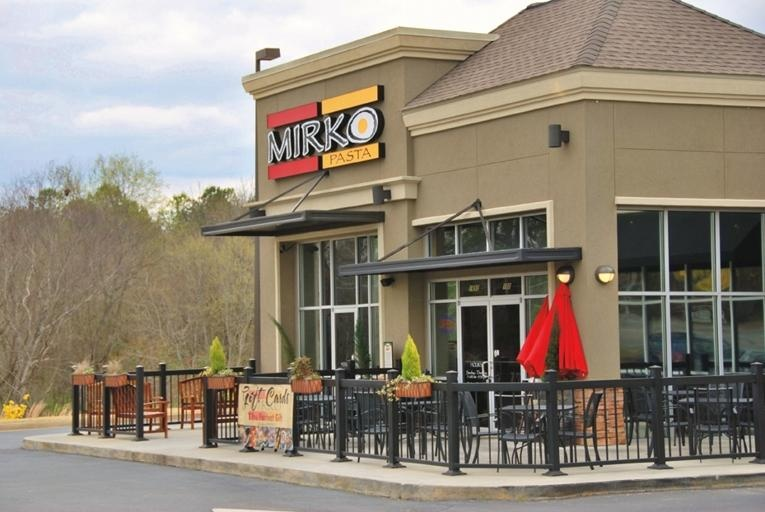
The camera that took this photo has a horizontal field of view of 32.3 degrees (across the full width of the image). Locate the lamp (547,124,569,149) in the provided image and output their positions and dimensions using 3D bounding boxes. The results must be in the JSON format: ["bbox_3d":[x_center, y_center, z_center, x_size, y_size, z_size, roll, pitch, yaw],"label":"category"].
[{"bbox_3d":[4.467,-3.107,33.526,0.632,0.658,0.394,0,-1,-5],"label":"lamp"}]

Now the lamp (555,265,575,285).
[{"bbox_3d":[4.631,0.477,33.582,0.405,0.620,0.567,0,-6,-31],"label":"lamp"}]

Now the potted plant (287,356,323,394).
[{"bbox_3d":[-1.877,2.896,31.790,0.882,0.933,0.791,0,0,-8],"label":"potted plant"}]

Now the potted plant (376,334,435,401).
[{"bbox_3d":[0.569,2.593,30.355,1.189,1.465,0.593,-2,-12,10],"label":"potted plant"}]

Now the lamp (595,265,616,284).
[{"bbox_3d":[5.573,0.454,33.134,0.427,0.456,0.222,-3,-3,-22],"label":"lamp"}]

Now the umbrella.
[{"bbox_3d":[4.343,1.837,33.338,1.806,2.519,1.618,12,-13,-22],"label":"umbrella"}]

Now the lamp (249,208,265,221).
[{"bbox_3d":[-3.844,-1.332,40.260,0.501,0.333,0.487,1,-2,-38],"label":"lamp"}]

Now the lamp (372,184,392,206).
[{"bbox_3d":[-0.013,-1.780,36.982,0.570,0.514,0.275,-1,-12,5],"label":"lamp"}]
